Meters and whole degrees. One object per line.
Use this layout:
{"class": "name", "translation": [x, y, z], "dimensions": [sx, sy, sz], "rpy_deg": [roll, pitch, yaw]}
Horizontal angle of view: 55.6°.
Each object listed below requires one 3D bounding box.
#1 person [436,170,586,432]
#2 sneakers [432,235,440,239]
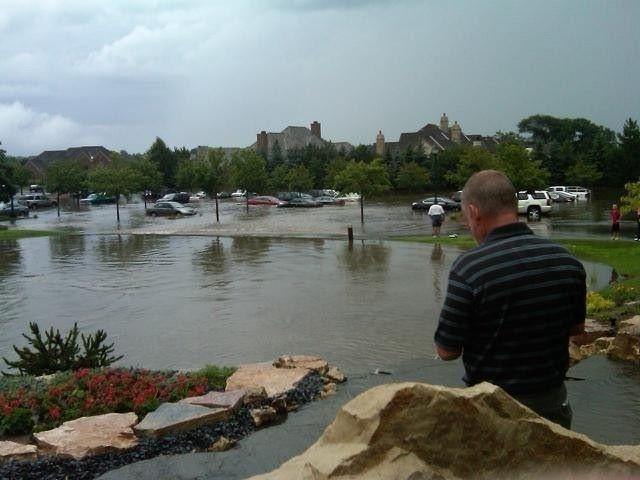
{"class": "person", "translation": [1.582, 0.535, 5.030], "dimensions": [1.197, 2.127, 0.464], "rpy_deg": [0, 8, 10]}
{"class": "sneakers", "translation": [5.227, -0.152, 27.115], "dimensions": [0.215, 0.159, 0.516], "rpy_deg": [-23, -3, 4]}
